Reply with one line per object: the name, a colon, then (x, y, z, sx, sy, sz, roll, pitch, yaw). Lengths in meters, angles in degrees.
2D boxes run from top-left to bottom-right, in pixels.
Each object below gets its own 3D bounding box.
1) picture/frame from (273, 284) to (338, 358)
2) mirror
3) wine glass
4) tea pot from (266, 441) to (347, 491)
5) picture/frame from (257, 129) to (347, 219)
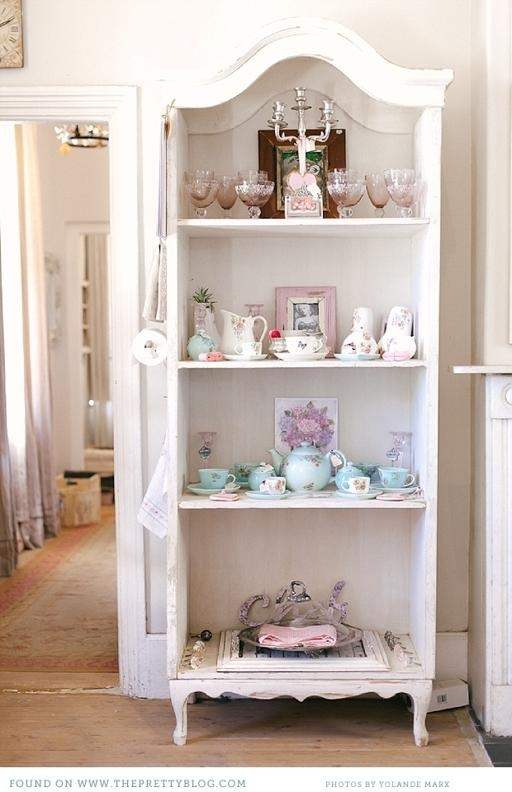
picture/frame: (0.163, -0.242, 2.403, 0.233, 0.288, 0.018, -1, -3, -1)
mirror: (-1.306, -0.374, 5.763, 0.315, 1.857, 0.771, 0, 3, -11)
wine glass: (0.143, -0.641, 2.333, 0.714, 0.175, 0.297, 0, 3, 4)
tea pot: (0.162, 0.223, 2.373, 0.202, 0.143, 0.145, 1, 0, 11)
picture/frame: (0.152, -0.727, 2.355, 0.347, 0.371, 0.030, 0, -1, 1)
